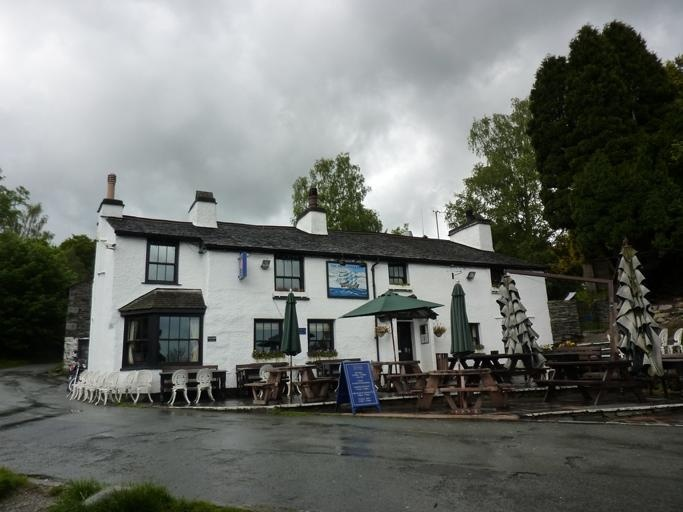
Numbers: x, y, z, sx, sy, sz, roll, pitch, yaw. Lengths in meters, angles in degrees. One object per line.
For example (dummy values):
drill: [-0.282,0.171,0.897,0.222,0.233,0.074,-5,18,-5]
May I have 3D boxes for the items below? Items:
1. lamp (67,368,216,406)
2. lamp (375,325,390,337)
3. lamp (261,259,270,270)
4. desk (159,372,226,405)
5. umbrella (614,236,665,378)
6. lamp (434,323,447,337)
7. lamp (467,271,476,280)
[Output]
lamp: [-7.819,4.788,19.395,3.282,0.807,2.132,2,-17,-16]
lamp: [1.826,3.433,24.153,0.504,0.396,0.510,2,-8,-6]
lamp: [-3.354,0.404,23.008,0.459,0.376,0.378,3,-22,-12]
desk: [-5.562,4.744,19.346,1.921,1.029,1.365,6,-18,-28]
umbrella: [7.872,1.339,14.140,0.963,3.720,0.829,-11,-17,30]
lamp: [4.651,3.516,24.914,0.569,0.531,0.578,-8,-12,36]
lamp: [6.640,1.042,26.913,0.423,0.432,0.382,8,-11,-14]
